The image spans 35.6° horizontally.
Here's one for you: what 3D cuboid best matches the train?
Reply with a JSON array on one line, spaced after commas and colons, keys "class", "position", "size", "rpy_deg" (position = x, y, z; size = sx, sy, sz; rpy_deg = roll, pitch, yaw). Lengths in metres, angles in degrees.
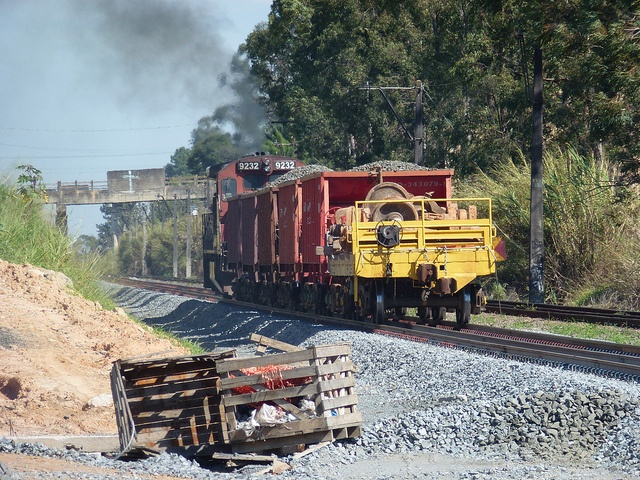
[{"class": "train", "position": [1.199, 0.043, 31.190], "size": [3.091, 4.667, 13.507], "rpy_deg": [-3, 2, -11]}]
